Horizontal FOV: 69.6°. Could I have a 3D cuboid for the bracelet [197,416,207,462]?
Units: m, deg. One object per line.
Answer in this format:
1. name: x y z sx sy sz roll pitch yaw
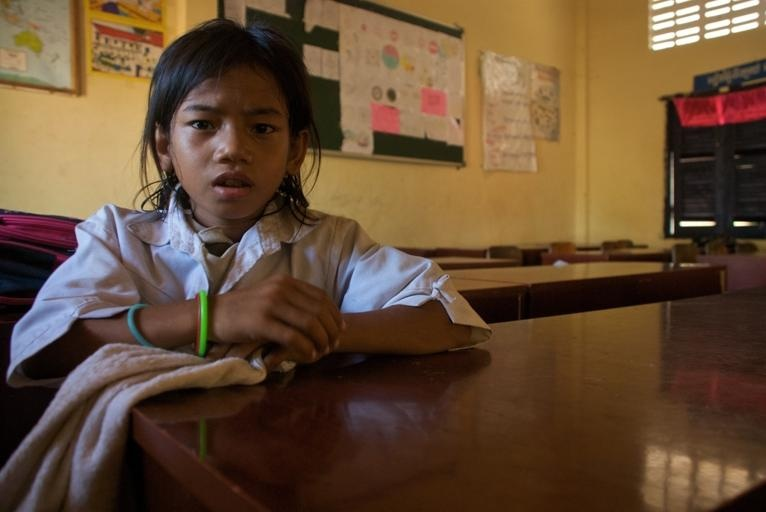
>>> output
1. bracelet: -0.197 0.201 0.599 0.009 0.010 0.093 -6 17 -14
